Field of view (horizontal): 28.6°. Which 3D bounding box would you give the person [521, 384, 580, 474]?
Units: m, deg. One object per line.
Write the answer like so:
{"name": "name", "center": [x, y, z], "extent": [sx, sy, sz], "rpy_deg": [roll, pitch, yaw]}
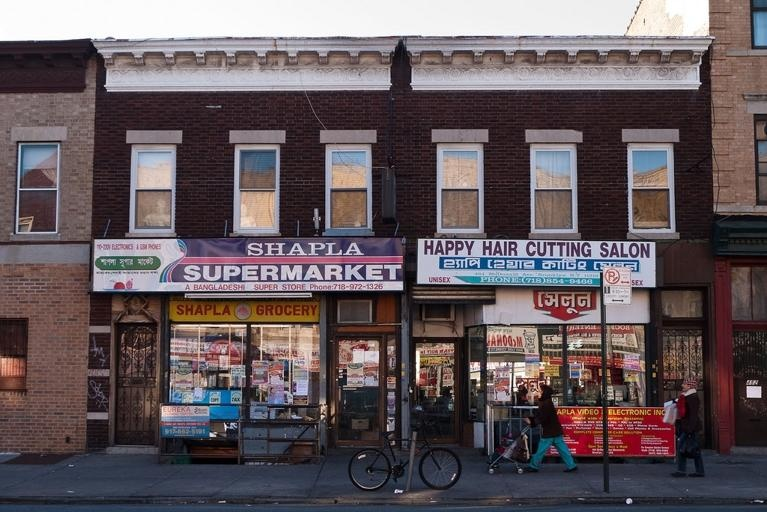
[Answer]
{"name": "person", "center": [4.126, 4.398, 38.039], "extent": [1.561, 2.119, 0.913], "rpy_deg": [4, -7, -26]}

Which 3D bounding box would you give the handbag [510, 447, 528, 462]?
{"name": "handbag", "center": [3.421, 4.999, 37.720], "extent": [0.434, 0.335, 0.114], "rpy_deg": [2, -12, -18]}

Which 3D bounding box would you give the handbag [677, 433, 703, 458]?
{"name": "handbag", "center": [7.586, 4.697, 37.286], "extent": [0.501, 0.597, 0.175], "rpy_deg": [-2, -11, 1]}

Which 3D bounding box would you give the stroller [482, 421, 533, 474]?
{"name": "stroller", "center": [3.177, 4.962, 38.586], "extent": [1.376, 1.739, 1.019], "rpy_deg": [2, -8, 5]}
